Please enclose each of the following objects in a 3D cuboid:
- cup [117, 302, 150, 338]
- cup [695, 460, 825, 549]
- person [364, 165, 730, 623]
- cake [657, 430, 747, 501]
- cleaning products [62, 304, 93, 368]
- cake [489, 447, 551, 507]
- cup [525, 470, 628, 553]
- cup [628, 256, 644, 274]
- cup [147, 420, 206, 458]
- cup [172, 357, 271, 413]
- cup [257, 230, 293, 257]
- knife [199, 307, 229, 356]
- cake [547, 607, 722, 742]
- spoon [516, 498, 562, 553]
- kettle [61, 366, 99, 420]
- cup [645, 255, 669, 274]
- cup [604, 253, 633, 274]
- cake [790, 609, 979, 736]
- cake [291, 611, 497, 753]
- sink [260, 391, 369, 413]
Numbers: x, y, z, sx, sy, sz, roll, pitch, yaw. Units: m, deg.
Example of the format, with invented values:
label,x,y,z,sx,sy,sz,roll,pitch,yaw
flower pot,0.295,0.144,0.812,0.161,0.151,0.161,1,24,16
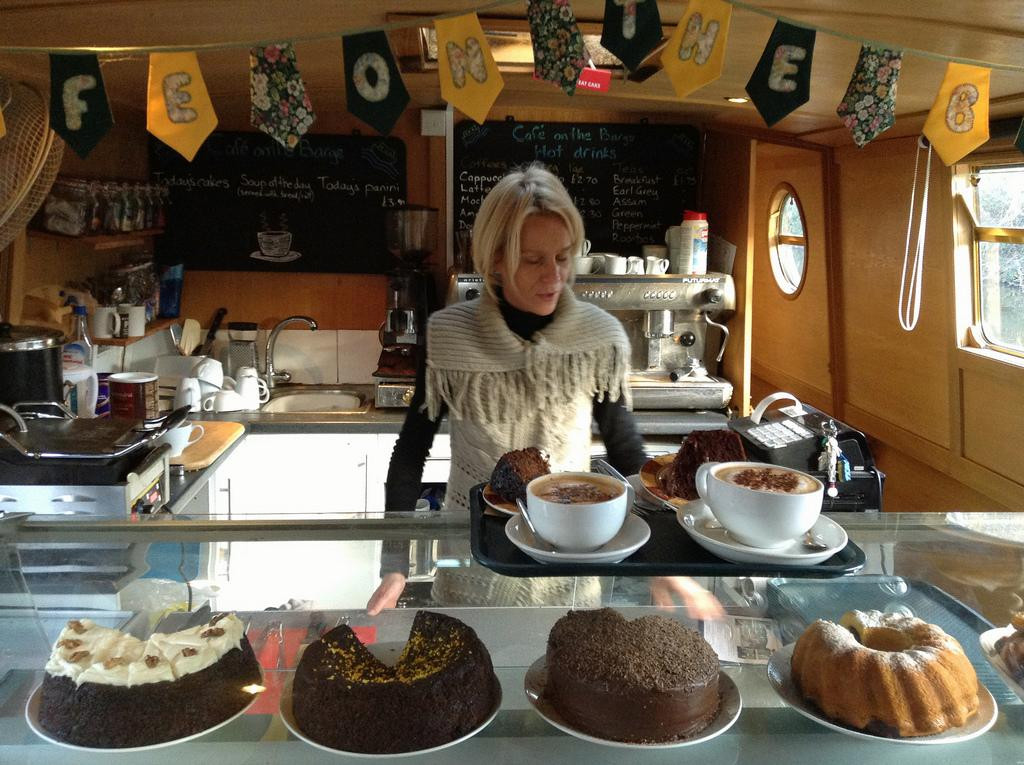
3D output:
label,x,y,z,sx,sy,sz,roll,pitch,yaw
cup,-1.922,-0.319,3.628,0.131,0.143,0.168,1,5,-2
cup,0.334,0.145,0.975,0.111,0.065,0.136,-2,13,-18
person,0.018,-0.099,1.944,0.985,1.262,0.857,-1,6,-9
cake,0.310,0.129,1.195,0.182,0.134,0.104,0,1,-5
cleaning products,-1.911,-0.201,3.099,0.111,0.251,0.447,-9,14,-30
cake,0.016,0.153,1.153,0.088,0.083,0.025,27,-17,-27
cup,0.094,0.185,1.026,0.145,0.082,0.141,-1,12,0
cup,0.658,-0.636,3.848,0.115,0.110,0.073,0,5,9
cup,-1.212,0.175,2.550,0.167,0.105,0.127,-1,3,-19
cup,-1.414,0.035,3.412,0.294,0.181,0.459,6,10,30
cup,-1.458,-0.854,4.347,0.176,0.117,0.152,-8,15,-31
knife,-1.768,-0.306,4.169,0.196,0.268,0.569,-6,13,-22
cake,0.158,0.378,0.933,0.228,0.094,0.157,-1,12,1
spoon,0.036,0.213,1.042,0.024,0.121,0.019,-21,2,-7
kettle,-1.709,0.044,2.816,0.105,0.221,0.274,-8,14,-29
cup,0.772,-0.641,3.838,0.138,0.138,0.085,3,6,-3
cup,0.552,-0.632,3.746,0.094,0.092,0.125,0,3,1
cake,0.488,0.378,0.932,0.192,0.094,0.162,-7,13,-25
cake,-0.153,0.392,0.946,0.272,0.087,0.180,-2,12,-4
sink,-1.113,0.114,4.084,0.546,0.099,0.320,-2,12,-3
